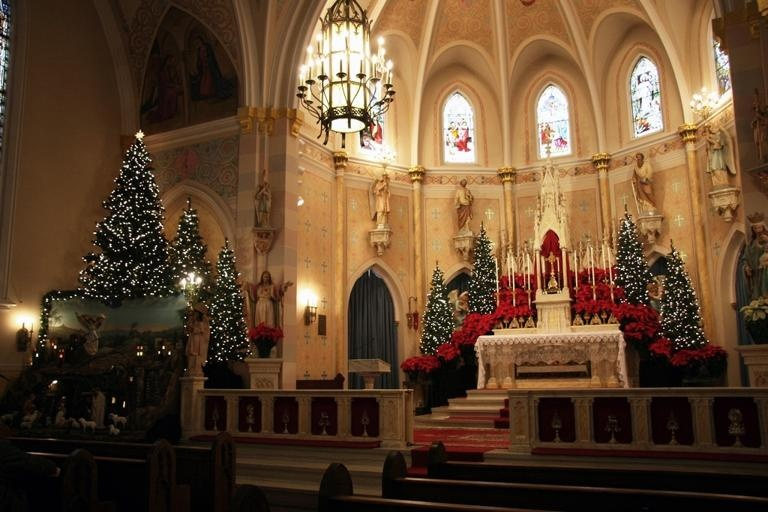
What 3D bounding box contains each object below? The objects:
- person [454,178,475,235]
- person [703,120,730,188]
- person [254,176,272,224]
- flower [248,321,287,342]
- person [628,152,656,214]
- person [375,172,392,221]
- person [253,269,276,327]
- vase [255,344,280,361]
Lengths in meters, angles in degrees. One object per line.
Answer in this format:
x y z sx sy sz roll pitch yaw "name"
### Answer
2.572 -1.576 21.039 0.592 1.786 0.491 -3 -15 7 "person"
8.706 -2.476 17.050 0.578 1.503 0.470 -10 -17 29 "person"
-3.004 -1.339 16.288 0.433 1.314 0.279 2 -15 -13 "person"
-2.740 1.781 15.327 0.494 0.358 0.510 2 -5 -1 "flower"
7.531 -2.084 19.069 0.577 1.841 0.397 -7 -16 23 "person"
-0.076 -1.722 20.335 0.503 1.522 0.720 -1 -14 0 "person"
-2.857 1.035 15.742 0.518 1.284 0.304 2 -15 -13 "person"
-2.749 2.285 15.497 0.435 0.367 0.326 -4 -5 22 "vase"
